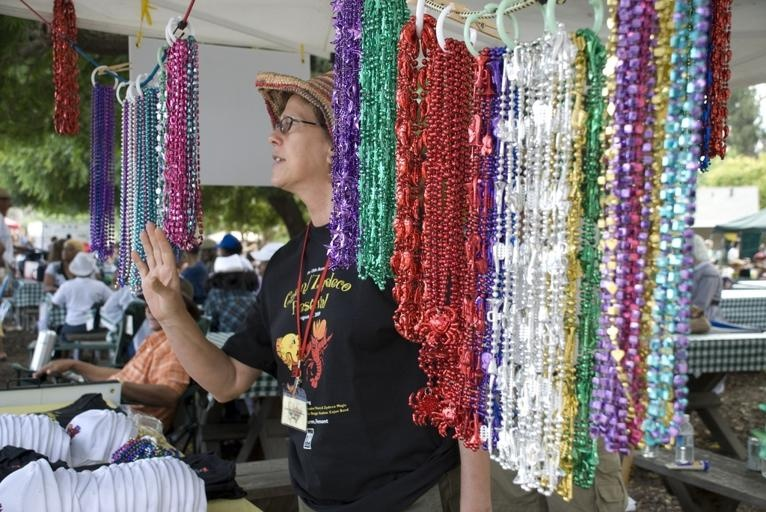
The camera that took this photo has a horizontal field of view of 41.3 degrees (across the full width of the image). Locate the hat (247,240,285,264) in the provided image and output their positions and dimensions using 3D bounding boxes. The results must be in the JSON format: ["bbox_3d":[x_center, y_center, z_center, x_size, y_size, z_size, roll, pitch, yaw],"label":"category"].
[{"bbox_3d":[-1.493,-0.069,12.770,0.455,0.275,0.714,4,5,40],"label":"hat"}]

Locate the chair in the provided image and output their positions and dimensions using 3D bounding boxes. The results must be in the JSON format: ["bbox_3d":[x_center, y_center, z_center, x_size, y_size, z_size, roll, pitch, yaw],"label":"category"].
[{"bbox_3d":[-1.892,0.668,7.369,1.151,1.641,0.998,8,-6,-39],"label":"chair"}]

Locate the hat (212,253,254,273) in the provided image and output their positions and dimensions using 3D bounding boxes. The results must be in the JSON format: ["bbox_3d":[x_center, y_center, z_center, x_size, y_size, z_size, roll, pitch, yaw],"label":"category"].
[{"bbox_3d":[-1.495,0.073,10.473,0.332,0.134,0.337,2,-2,-17],"label":"hat"}]
